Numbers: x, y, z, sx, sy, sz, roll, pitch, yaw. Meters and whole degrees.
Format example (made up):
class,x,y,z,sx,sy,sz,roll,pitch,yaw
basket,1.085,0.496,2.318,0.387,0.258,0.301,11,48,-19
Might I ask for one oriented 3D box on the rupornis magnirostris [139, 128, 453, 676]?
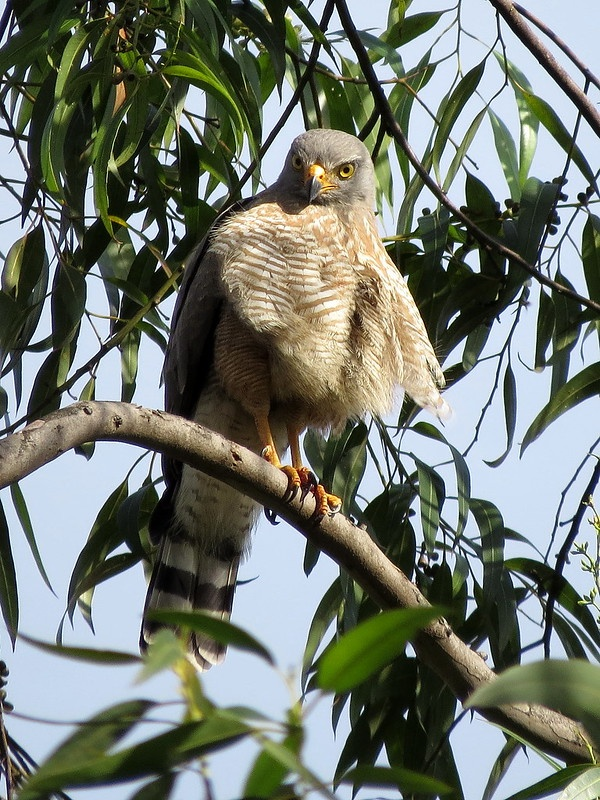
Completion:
class,x,y,z,sx,sy,sz,roll,pitch,yaw
rupornis magnirostris,0.002,-0.044,4.103,0.390,1.167,0.860,13,-44,-22
